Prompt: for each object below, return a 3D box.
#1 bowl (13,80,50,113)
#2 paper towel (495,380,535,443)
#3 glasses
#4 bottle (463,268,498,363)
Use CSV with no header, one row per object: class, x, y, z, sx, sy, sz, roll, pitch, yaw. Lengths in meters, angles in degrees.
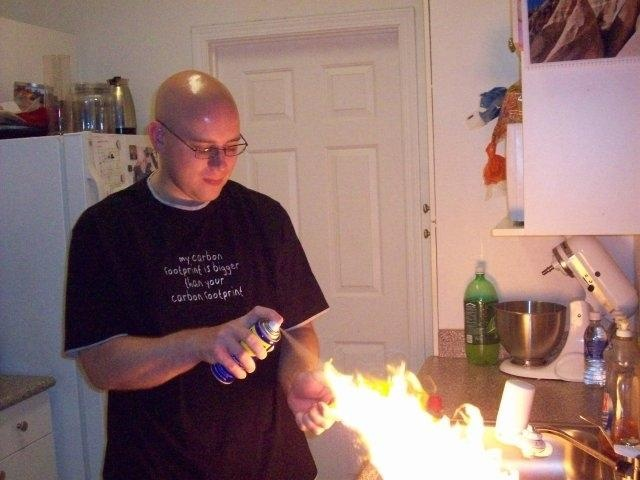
bowl,-1.462,-0.714,2.577,0.172,0.159,0.113,-3,4,-12
paper towel,0.559,0.486,1.485,0.107,0.162,0.104,-1,4,14
glasses,-0.300,-0.296,1.557,0.217,0.120,0.337,0,5,27
bottle,0.679,0.310,2.186,0.146,0.407,0.185,-1,4,17
